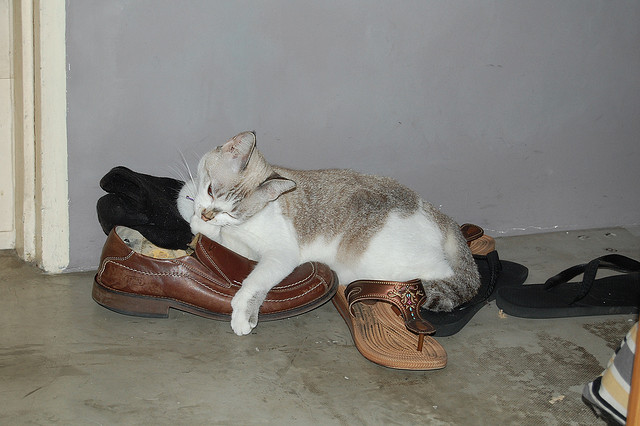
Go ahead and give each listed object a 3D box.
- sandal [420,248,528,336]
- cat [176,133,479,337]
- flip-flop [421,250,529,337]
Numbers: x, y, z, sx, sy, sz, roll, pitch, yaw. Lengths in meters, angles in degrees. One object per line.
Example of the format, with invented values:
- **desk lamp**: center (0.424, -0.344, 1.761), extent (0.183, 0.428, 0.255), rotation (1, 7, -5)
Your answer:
- **sandal**: center (0.535, 0.267, 1.900), extent (0.235, 0.052, 0.419), rotation (18, 36, 40)
- **cat**: center (0.006, 0.057, 1.878), extent (0.983, 0.382, 0.543), rotation (0, 59, -8)
- **flip-flop**: center (0.524, 0.285, 1.939), extent (0.473, 0.126, 0.215), rotation (-26, 39, -35)
